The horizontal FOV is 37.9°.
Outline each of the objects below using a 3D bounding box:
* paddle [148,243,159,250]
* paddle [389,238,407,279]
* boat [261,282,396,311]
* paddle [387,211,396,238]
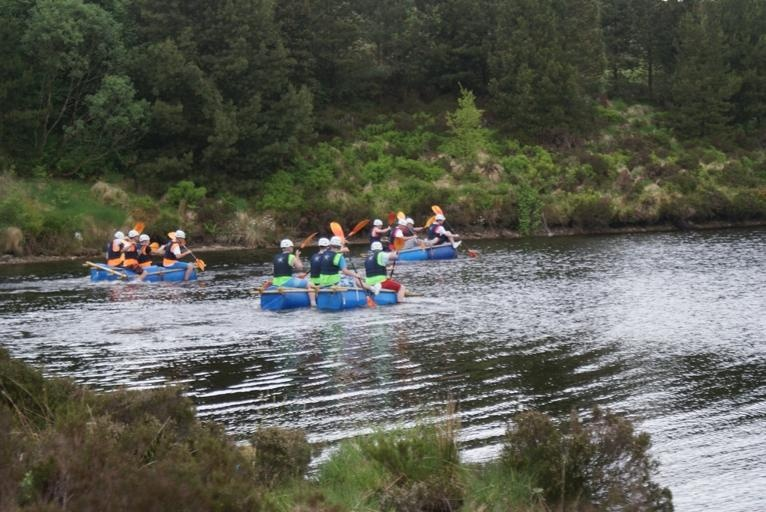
[{"bbox_3d":[-12.913,-0.385,62.724,0.507,0.379,0.718,11,11,-5],"label":"paddle"},{"bbox_3d":[0.684,0.086,62.200,0.582,2.724,0.390,9,44,7],"label":"paddle"},{"bbox_3d":[-2.844,1.994,54.329,6.324,1.476,0.938,-6,13,-7],"label":"boat"},{"bbox_3d":[0.419,-1.694,67.817,0.417,1.948,0.220,7,14,14],"label":"paddle"}]
